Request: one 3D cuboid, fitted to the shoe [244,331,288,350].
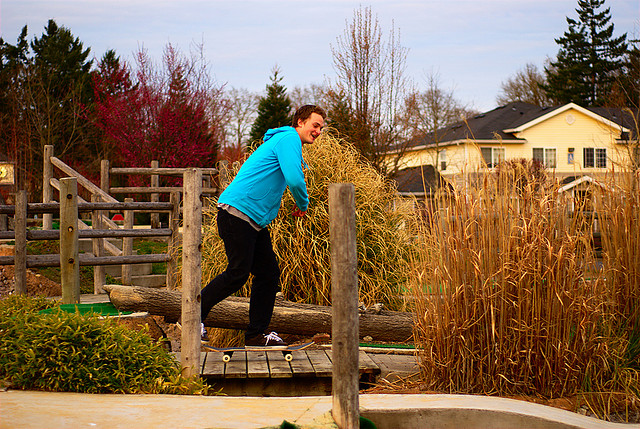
[{"bbox_3d":[-0.729,1.730,11.330,0.647,0.305,0.230,0,-4,-3],"label":"shoe"}]

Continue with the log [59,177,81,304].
[{"bbox_3d":[-3.753,0.390,12.293,0.313,1.871,0.226,2,-6,-19],"label":"log"}]

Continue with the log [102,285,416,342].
[{"bbox_3d":[-0.903,1.390,11.430,5.162,0.587,0.594,4,-9,-1],"label":"log"}]

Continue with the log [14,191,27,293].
[{"bbox_3d":[-4.641,0.702,12.777,0.243,2.407,0.265,0,29,-20],"label":"log"}]

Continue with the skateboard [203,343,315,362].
[{"bbox_3d":[-0.827,1.927,11.406,0.913,0.169,0.233,1,2,-7],"label":"skateboard"}]

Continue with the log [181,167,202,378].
[{"bbox_3d":[-1.659,0.755,10.614,0.237,2.690,0.300,1,-6,-10],"label":"log"}]
